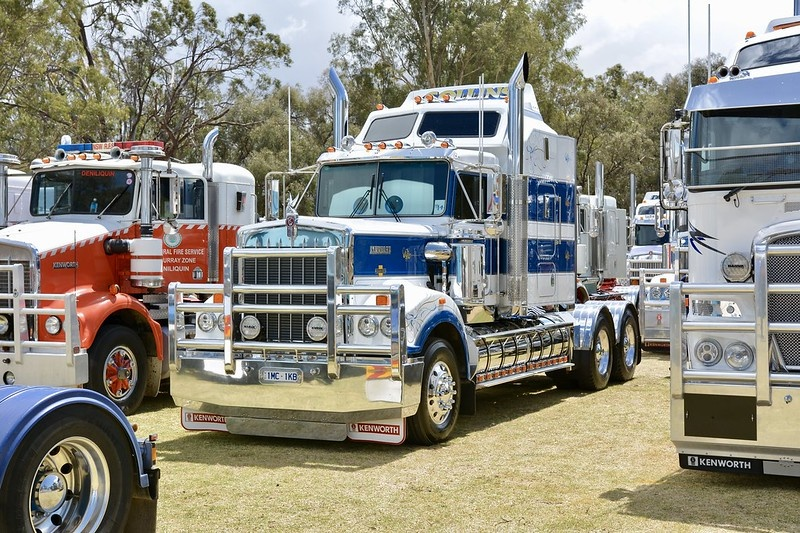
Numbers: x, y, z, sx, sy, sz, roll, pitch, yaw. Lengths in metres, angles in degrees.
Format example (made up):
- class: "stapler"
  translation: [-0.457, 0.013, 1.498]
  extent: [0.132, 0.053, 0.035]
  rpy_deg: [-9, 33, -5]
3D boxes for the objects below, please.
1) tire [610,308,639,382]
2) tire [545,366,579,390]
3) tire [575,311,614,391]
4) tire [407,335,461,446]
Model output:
- class: "tire"
  translation: [4.265, 1.515, 15.054]
  extent: [0.362, 1.307, 1.169]
  rpy_deg: [-3, 3, 30]
- class: "tire"
  translation: [2.944, 2.025, 14.190]
  extent: [0.198, 0.551, 0.488]
  rpy_deg: [-7, -12, 42]
- class: "tire"
  translation: [3.589, 1.601, 14.482]
  extent: [0.340, 1.276, 1.159]
  rpy_deg: [0, -12, 34]
- class: "tire"
  translation: [0.429, 1.654, 10.313]
  extent: [0.616, 1.510, 1.199]
  rpy_deg: [-5, -7, 28]
